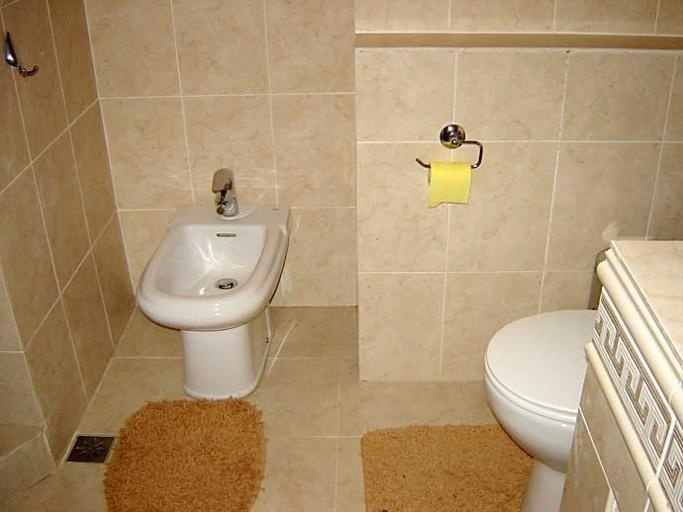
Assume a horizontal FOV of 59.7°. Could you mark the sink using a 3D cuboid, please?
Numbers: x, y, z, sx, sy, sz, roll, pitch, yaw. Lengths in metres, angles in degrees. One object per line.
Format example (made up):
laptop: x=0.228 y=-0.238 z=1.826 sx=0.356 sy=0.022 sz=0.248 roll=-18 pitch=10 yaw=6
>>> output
sink: x=-0.447 y=0.039 z=2.178 sx=0.468 sy=0.268 sz=0.592 roll=4 pitch=26 yaw=2

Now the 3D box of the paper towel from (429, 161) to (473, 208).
paper towel: x=0.330 y=-0.221 z=1.900 sx=0.149 sy=0.154 sz=0.120 roll=1 pitch=43 yaw=1

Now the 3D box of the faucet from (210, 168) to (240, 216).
faucet: x=-0.446 y=-0.237 z=2.273 sx=0.087 sy=0.187 sz=0.043 roll=-6 pitch=46 yaw=-11
